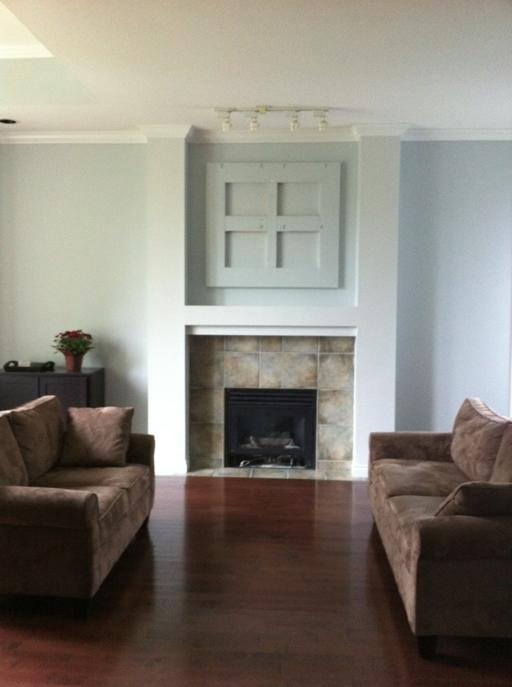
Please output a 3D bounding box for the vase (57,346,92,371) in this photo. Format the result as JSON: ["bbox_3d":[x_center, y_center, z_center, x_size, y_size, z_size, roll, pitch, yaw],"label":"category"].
[{"bbox_3d":[-1.451,0.120,5.311,0.195,0.133,0.192,0,-2,-36],"label":"vase"}]

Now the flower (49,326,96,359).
[{"bbox_3d":[-1.493,-0.021,5.325,0.262,0.176,0.257,4,4,-8],"label":"flower"}]

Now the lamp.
[{"bbox_3d":[0.131,-1.626,4.846,0.847,0.120,0.460,0,5,-4],"label":"lamp"}]
